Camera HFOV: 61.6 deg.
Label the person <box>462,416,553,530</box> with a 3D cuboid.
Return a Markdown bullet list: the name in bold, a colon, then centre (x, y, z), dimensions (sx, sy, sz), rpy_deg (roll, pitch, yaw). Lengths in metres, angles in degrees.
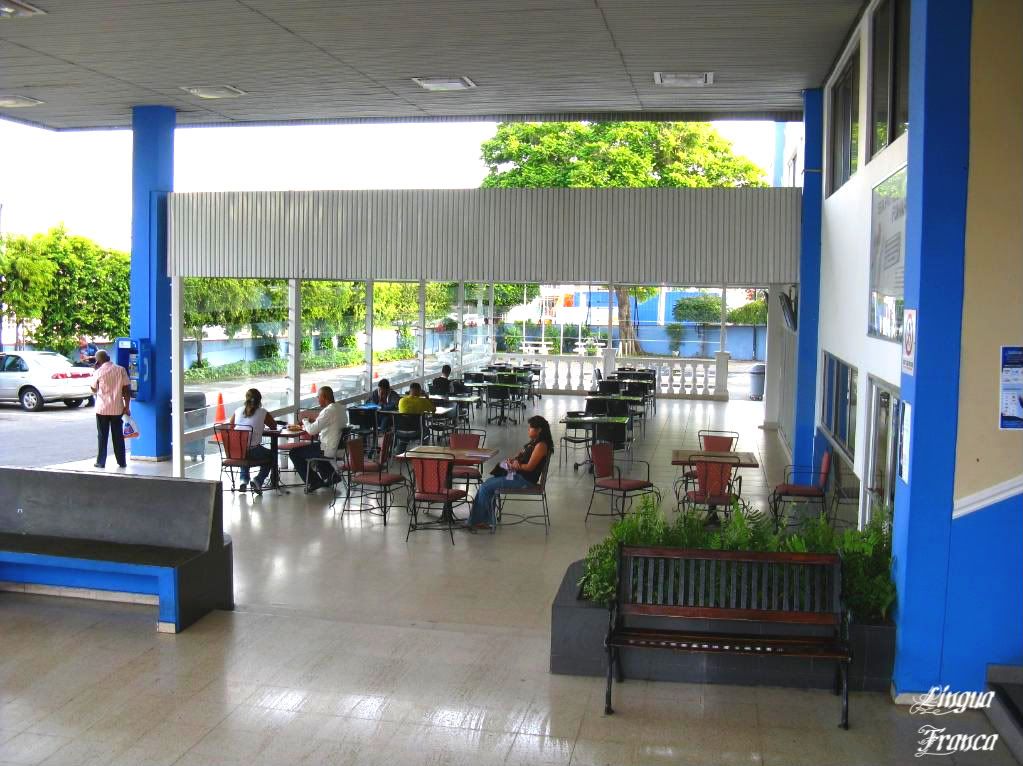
- **person**: centre (-0.024, 1.121, 10.969), dimensions (1.020, 1.503, 0.376), rpy_deg (3, 7, 22)

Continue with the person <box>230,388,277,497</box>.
- **person**: centre (-3.837, 0.834, 12.730), dimensions (0.623, 1.578, 0.724), rpy_deg (-2, 7, -22)

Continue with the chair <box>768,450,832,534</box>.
- **chair**: centre (3.674, 1.338, 10.782), dimensions (0.769, 1.012, 0.696), rpy_deg (0, 4, 7)

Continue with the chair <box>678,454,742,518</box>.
- **chair**: centre (2.477, 1.263, 10.684), dimensions (0.706, 1.168, 0.710), rpy_deg (3, 11, 13)

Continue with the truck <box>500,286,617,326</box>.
- **truck**: centre (2.161, -2.914, 31.488), dimensions (3.299, 1.400, 8.086), rpy_deg (2, 7, 13)

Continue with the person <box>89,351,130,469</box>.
- **person**: centre (-6.558, 0.408, 14.015), dimensions (0.542, 1.928, 0.965), rpy_deg (-3, 7, -28)

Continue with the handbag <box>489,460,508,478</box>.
- **handbag**: centre (-0.187, 1.140, 11.411), dimensions (0.190, 0.270, 0.259), rpy_deg (0, -5, 6)

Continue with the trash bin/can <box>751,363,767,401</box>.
- **trash bin/can**: centre (7.363, -0.065, 25.746), dimensions (0.355, 0.909, 0.950), rpy_deg (2, 7, 11)

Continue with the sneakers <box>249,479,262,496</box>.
- **sneakers**: centre (-3.821, 1.542, 12.777), dimensions (0.141, 0.159, 0.243), rpy_deg (3, 2, -14)
